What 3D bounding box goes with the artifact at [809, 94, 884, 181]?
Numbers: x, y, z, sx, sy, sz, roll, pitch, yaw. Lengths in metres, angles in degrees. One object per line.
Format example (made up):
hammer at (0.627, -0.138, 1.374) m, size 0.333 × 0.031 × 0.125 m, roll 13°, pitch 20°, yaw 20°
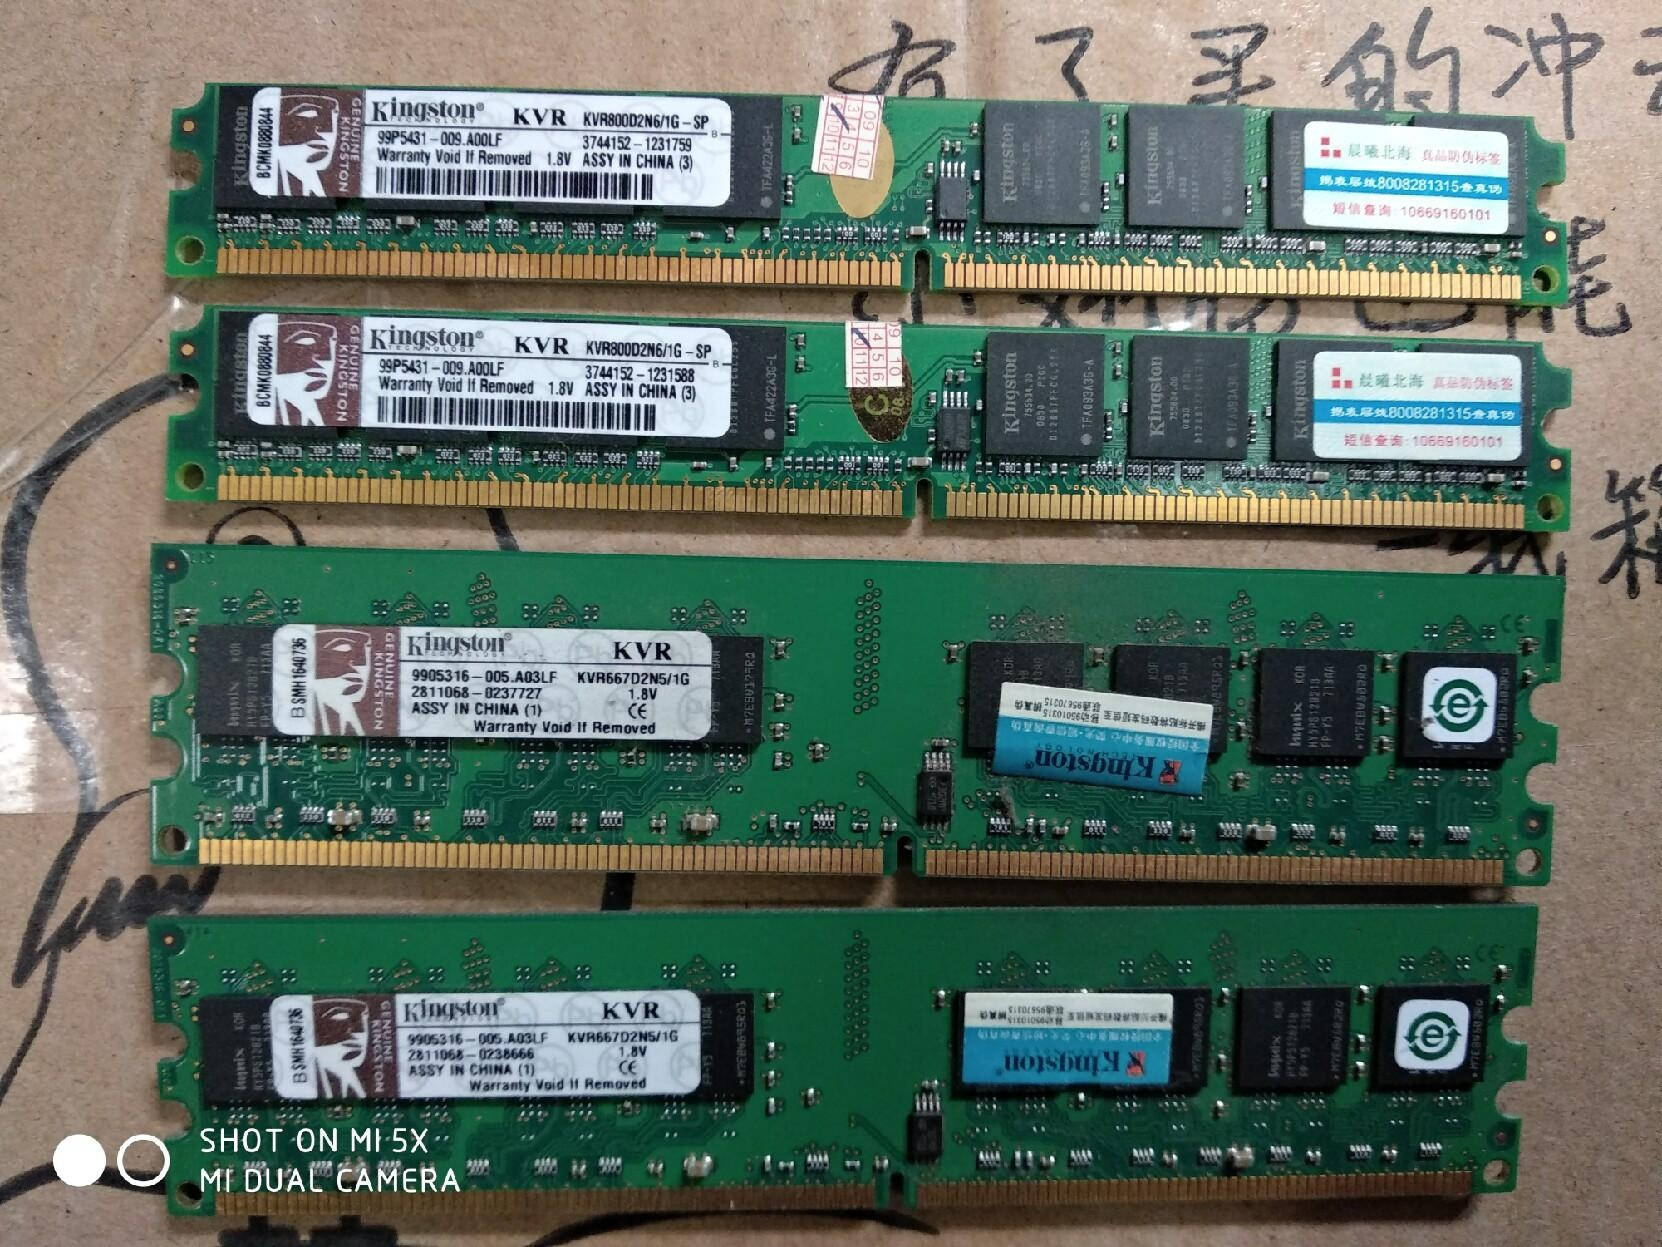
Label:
artifact at (0.104, -3.985, 25.783) m, size 0.521 × 0.249 × 0.643 m, roll 7°, pitch 70°, yaw 3°
